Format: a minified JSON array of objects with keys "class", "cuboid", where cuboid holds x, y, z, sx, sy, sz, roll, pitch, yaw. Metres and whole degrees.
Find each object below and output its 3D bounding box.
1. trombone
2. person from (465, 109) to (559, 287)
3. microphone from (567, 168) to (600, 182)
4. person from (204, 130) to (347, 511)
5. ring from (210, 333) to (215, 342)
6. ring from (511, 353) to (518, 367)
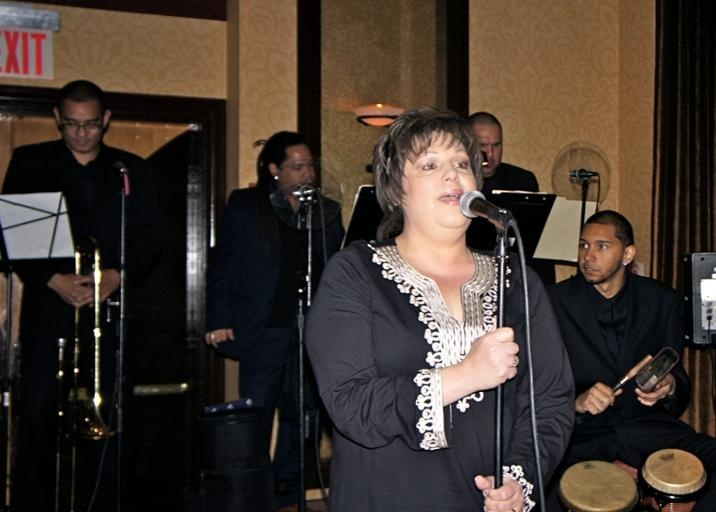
[{"class":"trombone","cuboid":[-1.874,0.793,5.101,0.270,1.807,0.427,4,4,-16]},{"class":"person","cuboid":[1.080,-0.554,5.321,0.647,1.491,0.571,3,8,-6]},{"class":"microphone","cuboid":[1.613,-0.574,5.441,0.152,0.061,0.110,6,18,19]},{"class":"person","cuboid":[-0.609,0.208,5.098,0.830,2.701,0.683,1,5,-20]},{"class":"ring","cuboid":[-1.002,0.557,5.162,0.028,0.042,0.011,0,9,2]},{"class":"ring","cuboid":[0.608,0.409,2.962,0.042,0.047,0.024,12,50,19]}]
